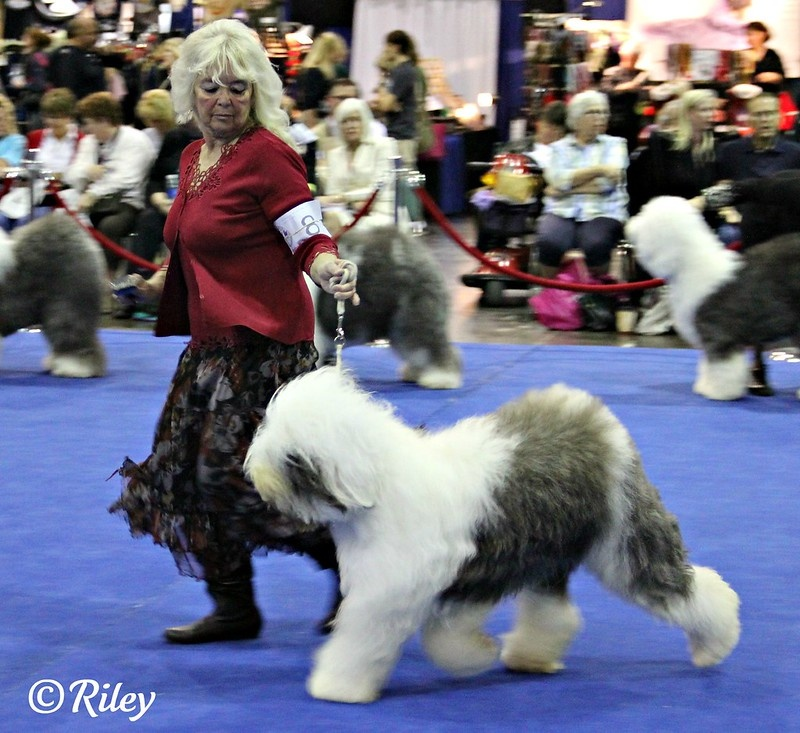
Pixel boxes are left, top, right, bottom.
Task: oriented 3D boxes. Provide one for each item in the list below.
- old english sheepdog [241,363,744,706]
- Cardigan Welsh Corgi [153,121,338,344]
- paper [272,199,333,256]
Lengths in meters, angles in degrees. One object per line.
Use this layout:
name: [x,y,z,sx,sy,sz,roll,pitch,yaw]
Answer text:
old english sheepdog: [0.168,0.411,2.367,1.362,0.598,0.438,6,-11,-29]
Cardigan Welsh Corgi: [-0.351,-0.343,2.643,0.488,0.478,0.730,-2,12,-20]
paper: [-0.202,-0.328,2.432,0.130,0.082,0.131,-11,-7,-29]
